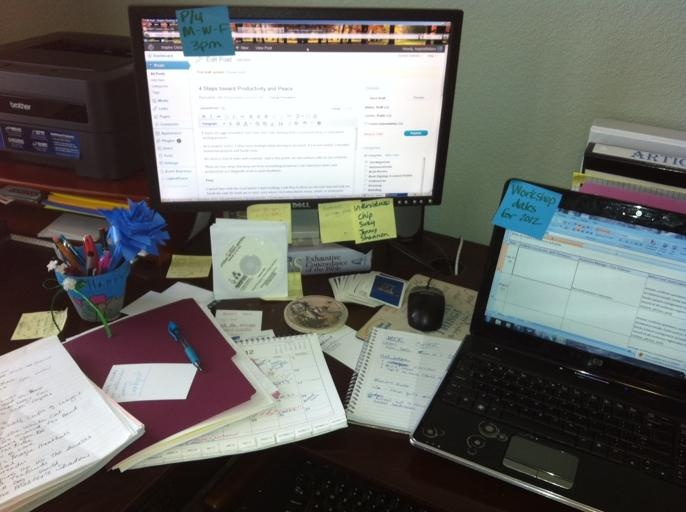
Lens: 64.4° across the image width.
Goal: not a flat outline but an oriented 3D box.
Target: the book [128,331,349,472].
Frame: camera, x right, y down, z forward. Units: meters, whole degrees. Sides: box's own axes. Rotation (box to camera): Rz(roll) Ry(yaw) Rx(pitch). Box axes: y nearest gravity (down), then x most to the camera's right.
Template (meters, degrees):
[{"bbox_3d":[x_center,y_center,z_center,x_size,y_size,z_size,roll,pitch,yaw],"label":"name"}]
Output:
[{"bbox_3d":[-0.261,0.278,1.042,0.369,0.039,0.364,-11,6,40],"label":"book"}]
